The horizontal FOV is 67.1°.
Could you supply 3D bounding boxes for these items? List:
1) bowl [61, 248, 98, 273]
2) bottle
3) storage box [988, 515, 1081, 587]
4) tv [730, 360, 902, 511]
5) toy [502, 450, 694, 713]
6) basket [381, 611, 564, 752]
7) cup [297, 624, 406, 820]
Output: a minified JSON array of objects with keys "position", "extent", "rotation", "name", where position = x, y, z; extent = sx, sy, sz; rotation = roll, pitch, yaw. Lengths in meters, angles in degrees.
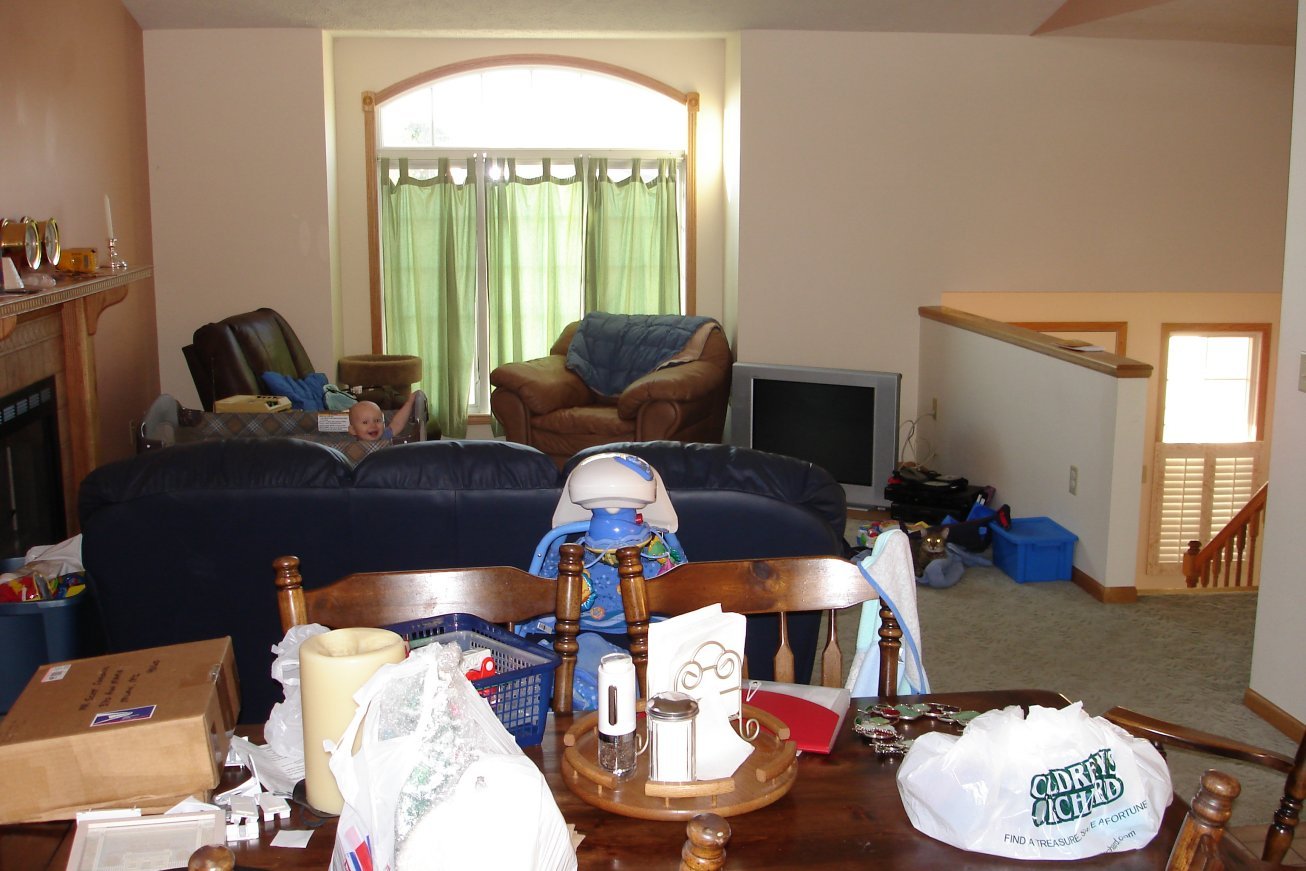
[{"position":[-2.567,-0.787,4.402],"extent":[0.142,0.105,0.227],"rotation":[-4,12,-25],"name":"bowl"},{"position":[-0.016,0.476,1.681],"extent":[0.238,0.242,0.144],"rotation":[0,7,2],"name":"bottle"},{"position":[1.944,0.584,5.038],"extent":[0.321,0.263,0.312],"rotation":[-1,11,-7],"name":"storage box"},{"position":[0.954,0.084,6.097],"extent":[1.045,0.866,0.615],"rotation":[6,-15,0],"name":"tv"},{"position":[-0.121,0.340,2.565],"extent":[0.561,0.769,0.535],"rotation":[-1,2,-12],"name":"toy"},{"position":[-0.316,0.424,1.870],"extent":[0.211,0.117,0.301],"rotation":[-5,13,-32],"name":"basket"},{"position":[-0.495,0.484,1.630],"extent":[0.163,0.318,0.117],"rotation":[-4,12,-21],"name":"cup"}]
